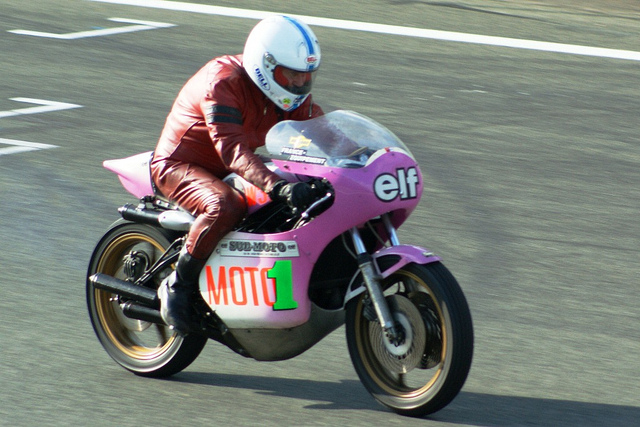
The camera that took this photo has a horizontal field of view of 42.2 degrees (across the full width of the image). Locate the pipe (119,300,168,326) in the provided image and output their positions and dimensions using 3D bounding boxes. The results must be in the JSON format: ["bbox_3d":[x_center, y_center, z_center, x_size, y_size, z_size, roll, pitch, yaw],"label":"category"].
[{"bbox_3d":[-1.372,0.763,6.440,0.577,0.135,0.104,6,87,35],"label":"pipe"}]

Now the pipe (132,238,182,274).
[{"bbox_3d":[-1.260,0.320,6.501,0.550,0.066,0.171,-29,67,22],"label":"pipe"}]

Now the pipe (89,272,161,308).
[{"bbox_3d":[-1.528,0.575,6.515,0.642,0.081,0.092,14,41,25],"label":"pipe"}]
